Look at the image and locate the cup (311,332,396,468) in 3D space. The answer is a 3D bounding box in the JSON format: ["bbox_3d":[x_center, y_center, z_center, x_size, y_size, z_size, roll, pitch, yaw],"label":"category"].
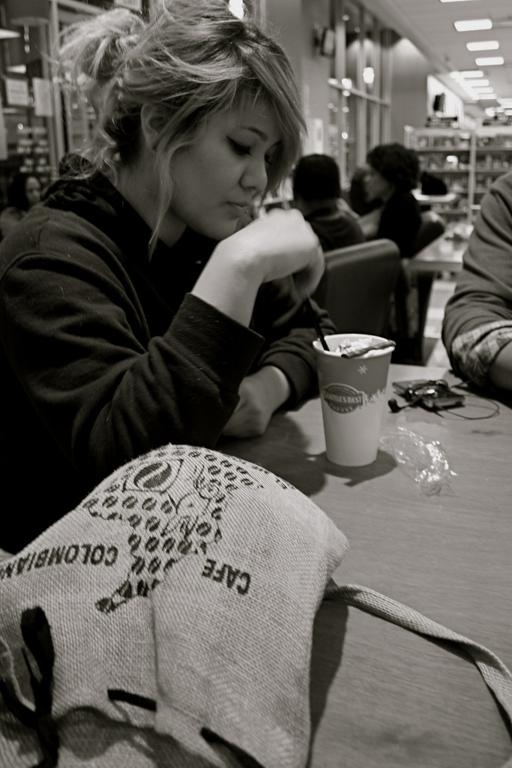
[{"bbox_3d":[0.123,0.018,0.782,0.090,0.155,0.098,-3,21,1],"label":"cup"}]

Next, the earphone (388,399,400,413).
[{"bbox_3d":[0.215,0.034,0.966,0.010,0.015,0.008,-32,27,-3],"label":"earphone"}]
